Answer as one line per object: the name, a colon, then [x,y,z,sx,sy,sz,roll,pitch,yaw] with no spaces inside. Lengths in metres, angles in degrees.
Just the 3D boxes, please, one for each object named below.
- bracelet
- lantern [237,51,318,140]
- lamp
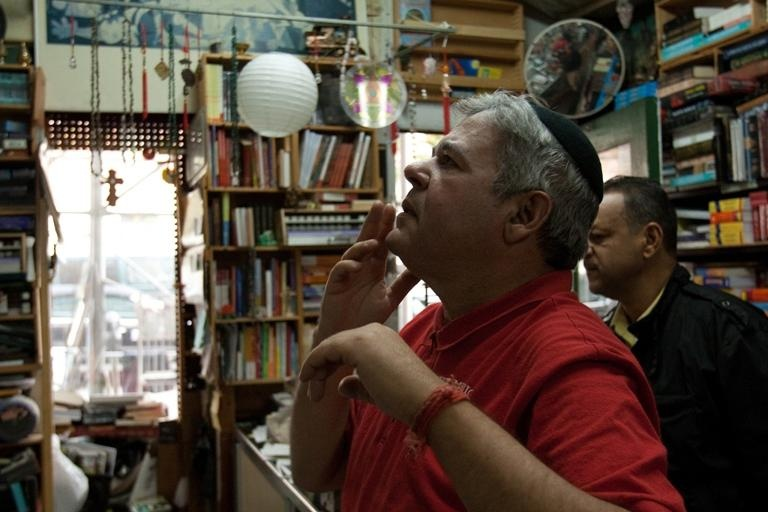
bracelet: [0.185,0.529,2.697,0.225,0.190,0.110,-41,0,6]
lantern: [-0.704,-1.074,5.130,0.509,0.594,0.504,1,4,-29]
lamp: [-0.720,-1.004,5.111,0.497,0.578,0.502,-1,6,-12]
